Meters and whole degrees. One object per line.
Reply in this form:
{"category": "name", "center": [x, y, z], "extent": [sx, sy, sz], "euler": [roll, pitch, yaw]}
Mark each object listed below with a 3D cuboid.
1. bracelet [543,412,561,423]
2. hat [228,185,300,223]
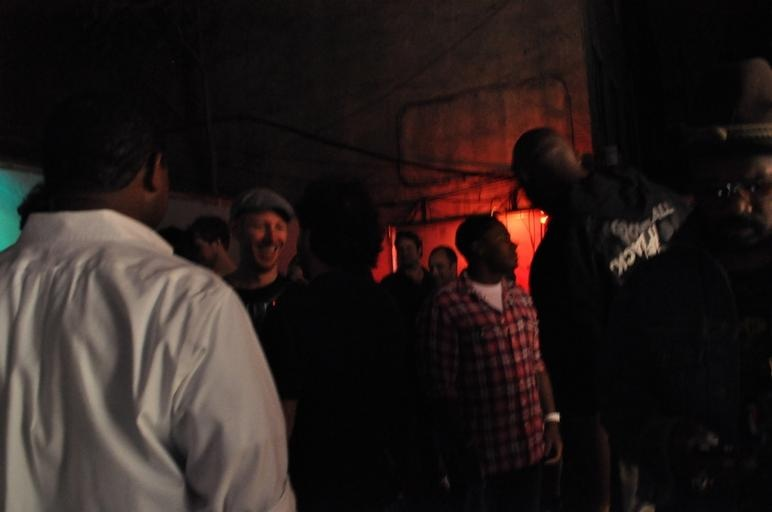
{"category": "bracelet", "center": [0.487, 0.474, 2.409], "extent": [0.038, 0.023, 0.028], "euler": [3, -4, -2]}
{"category": "hat", "center": [-0.375, -0.131, 2.449], "extent": [0.204, 0.082, 0.208], "euler": [-3, -19, -8]}
